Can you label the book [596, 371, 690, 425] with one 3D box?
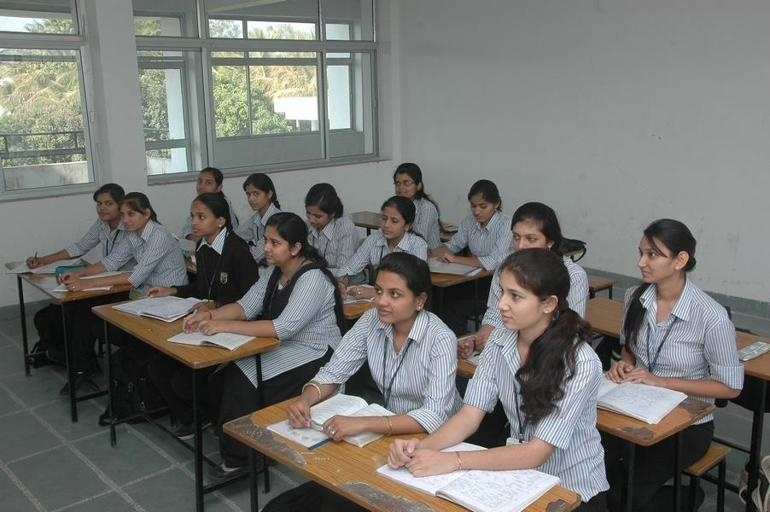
[{"bbox_3d":[1.114,0.622,2.212,0.265,0.043,0.350,-23,3,-11],"label":"book"}]
